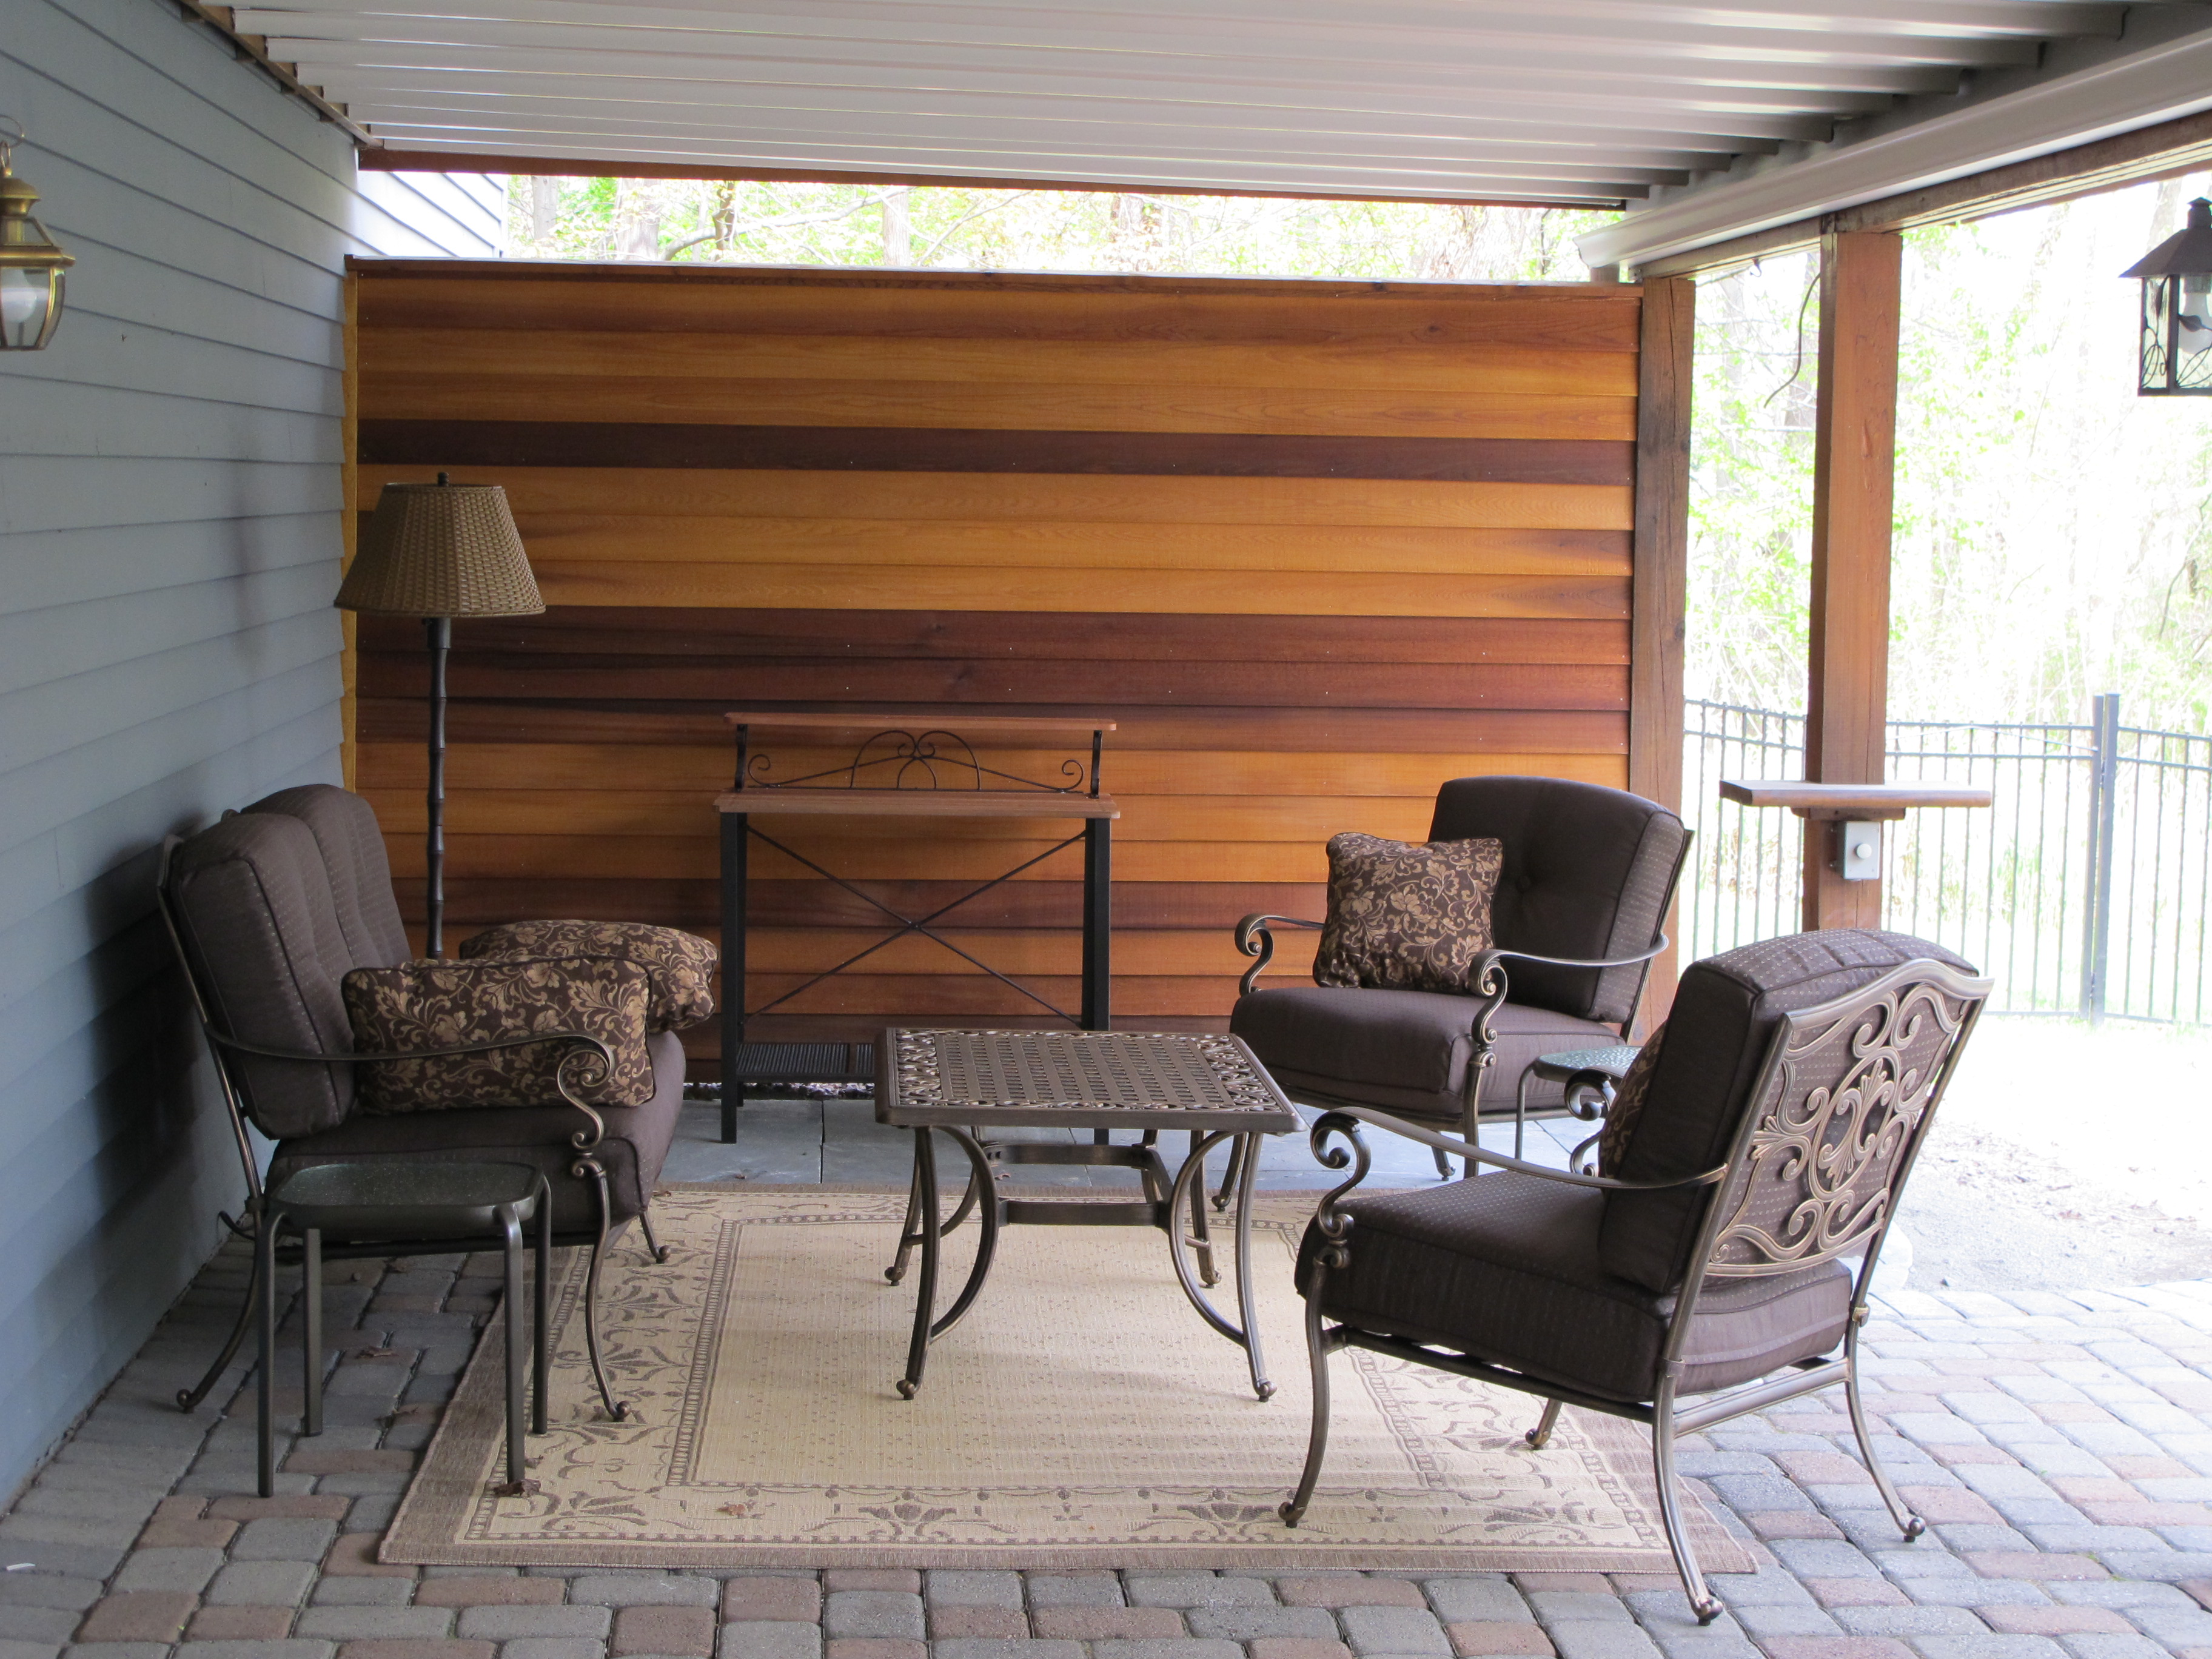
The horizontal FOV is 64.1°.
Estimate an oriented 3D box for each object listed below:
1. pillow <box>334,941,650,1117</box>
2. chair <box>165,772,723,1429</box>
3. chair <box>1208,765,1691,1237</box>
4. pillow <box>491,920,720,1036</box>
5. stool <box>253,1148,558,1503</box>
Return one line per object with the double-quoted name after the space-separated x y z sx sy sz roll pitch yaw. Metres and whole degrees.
-1.354 0.452 3.937 0.552 0.145 0.451 -3 8 -14 "pillow"
-1.619 0.676 4.214 1.431 0.998 1.815 -1 2 -9 "chair"
1.088 0.486 5.303 1.199 0.897 0.987 -12 16 -27 "chair"
-1.337 0.337 4.618 0.496 0.133 0.417 9 1 16 "pillow"
-1.469 1.029 3.628 0.671 0.480 0.542 -1 -13 -3 "stool"
